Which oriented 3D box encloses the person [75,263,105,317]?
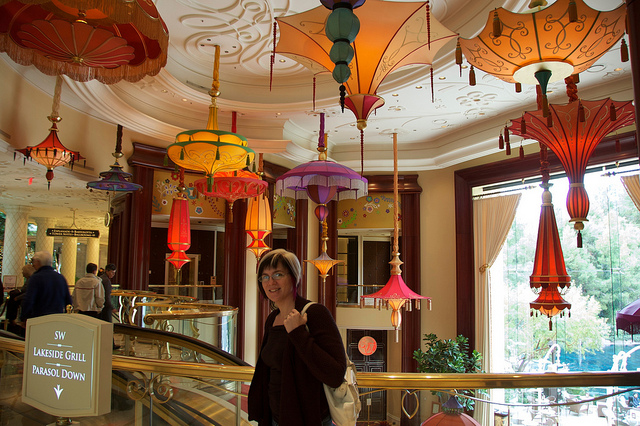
[{"bbox_3d":[-4.080,1.358,9.079,0.500,0.938,0.476,6,-11,-24],"label":"person"}]

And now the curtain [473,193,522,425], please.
[{"bbox_3d":[3.894,1.537,11.550,0.989,3.911,0.242,-8,-14,42],"label":"curtain"}]

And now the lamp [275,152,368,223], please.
[{"bbox_3d":[0.007,-0.416,8.013,1.173,1.028,1.173,-6,-11,34],"label":"lamp"}]

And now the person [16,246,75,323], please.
[{"bbox_3d":[-4.007,1.060,7.544,0.617,0.972,0.399,7,-12,-29],"label":"person"}]

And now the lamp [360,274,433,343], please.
[{"bbox_3d":[1.277,1.569,8.963,1.353,1.245,1.334,8,-12,-34],"label":"lamp"}]

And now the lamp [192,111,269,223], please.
[{"bbox_3d":[-1.537,-0.869,8.842,1.329,1.932,1.296,1,-1,35],"label":"lamp"}]

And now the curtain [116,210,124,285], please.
[{"bbox_3d":[-4.080,0.724,10.275,0.169,1.385,0.165,-1,3,-16],"label":"curtain"}]

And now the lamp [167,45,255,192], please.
[{"bbox_3d":[-1.671,-1.577,7.917,1.435,2.223,1.424,-2,-7,37],"label":"lamp"}]

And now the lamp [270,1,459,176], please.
[{"bbox_3d":[0.473,-1.372,6.728,1.951,1.577,1.908,0,-12,2],"label":"lamp"}]

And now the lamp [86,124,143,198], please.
[{"bbox_3d":[-3.637,-1.087,9.327,0.841,1.436,1.127,2,-10,-5],"label":"lamp"}]
